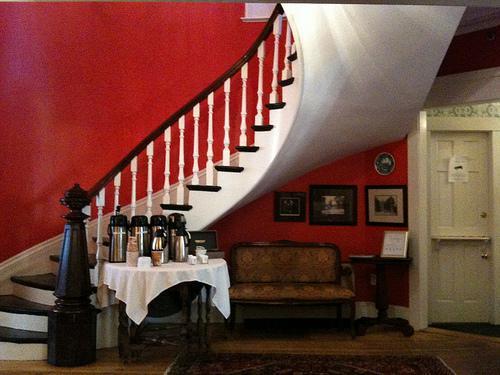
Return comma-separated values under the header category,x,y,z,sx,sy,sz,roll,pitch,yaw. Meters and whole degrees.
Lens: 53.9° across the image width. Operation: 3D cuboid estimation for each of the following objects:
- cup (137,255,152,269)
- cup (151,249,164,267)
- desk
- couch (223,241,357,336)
category,x,y,z,sx,sy,sz,roll,pitch,yaw
cup,-1.142,0.814,5.323,0.174,0.165,0.100,1,-12,-4
cup,-1.015,0.769,5.395,0.152,0.167,0.153,0,-8,0
desk,-0.940,1.300,5.472,1.428,0.944,0.623,-1,7,-17
couch,0.493,1.318,6.621,1.697,1.129,0.968,0,3,0
